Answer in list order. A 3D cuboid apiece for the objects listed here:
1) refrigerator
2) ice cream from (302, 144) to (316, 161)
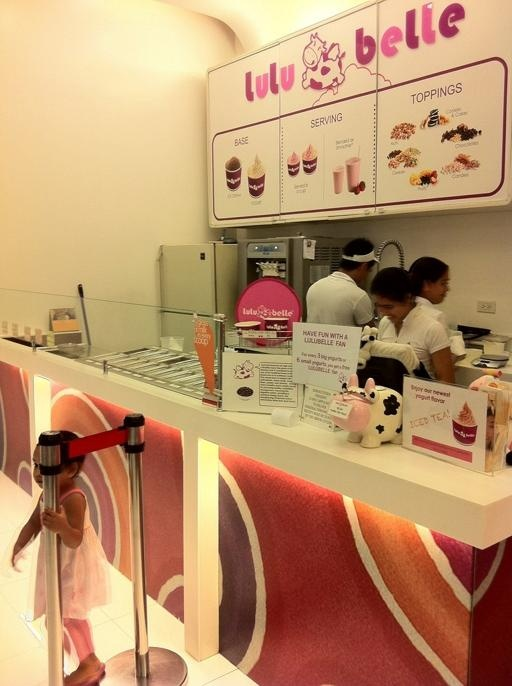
[{"bbox_3d":[-0.568,-0.342,4.442,0.529,1.003,0.548,4,12,12],"label":"refrigerator"},{"bbox_3d":[0.385,-1.380,3.620,0.071,0.067,0.108,-3,38,7],"label":"ice cream"}]
